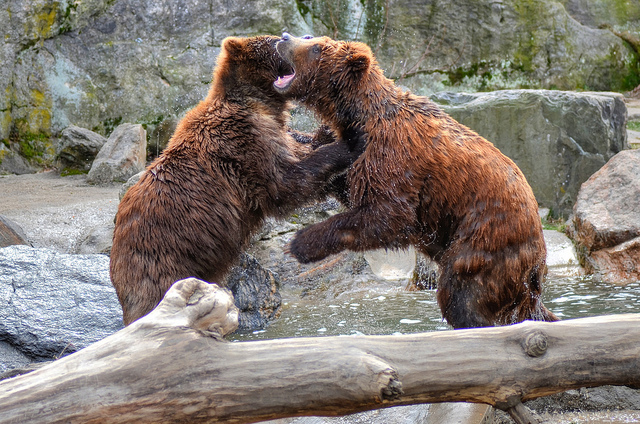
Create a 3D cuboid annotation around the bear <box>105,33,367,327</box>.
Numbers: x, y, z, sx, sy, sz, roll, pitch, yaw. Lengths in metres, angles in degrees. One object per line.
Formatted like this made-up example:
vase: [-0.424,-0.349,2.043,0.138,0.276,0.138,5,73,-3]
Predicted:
bear: [-1.771,-0.417,12.808,1.761,2.254,5.110,6,41,44]
